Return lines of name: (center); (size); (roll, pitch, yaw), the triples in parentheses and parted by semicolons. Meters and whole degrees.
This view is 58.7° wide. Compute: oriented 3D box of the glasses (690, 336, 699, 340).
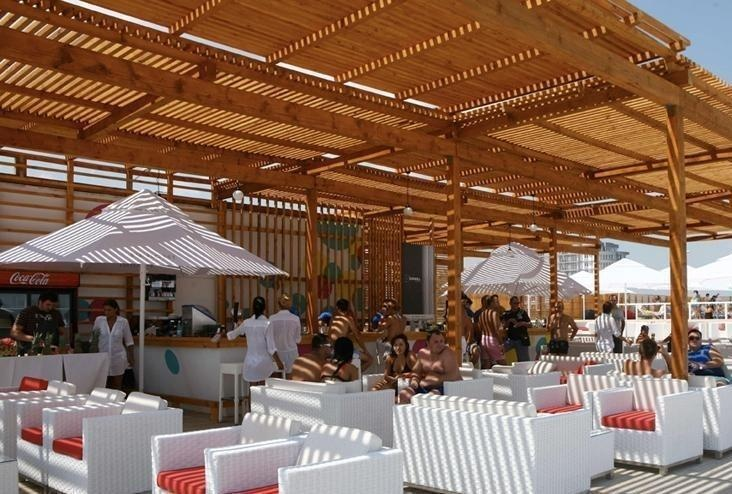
glasses: (4.873, 1.337, 9.646); (0.102, 0.052, 0.084); (-6, -11, 30)

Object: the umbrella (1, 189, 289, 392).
umbrella: (-3.559, 0.256, 10.476); (3.757, 2.657, 3.755); (4, -6, -41)

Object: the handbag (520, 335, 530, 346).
handbag: (3.271, 1.914, 13.428); (0.215, 0.178, 0.048); (7, -4, -32)

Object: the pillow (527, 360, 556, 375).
pillow: (2.706, 1.838, 9.985); (0.259, 0.073, 0.262); (-11, 7, 13)

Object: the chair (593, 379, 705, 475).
chair: (3.483, 2.088, 7.975); (1.177, 1.111, 1.147); (9, -13, -39)

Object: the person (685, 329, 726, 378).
person: (5.032, 1.562, 9.614); (0.497, 0.700, 1.069); (-4, -10, 23)

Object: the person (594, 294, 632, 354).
person: (4.866, 1.562, 13.030); (0.505, 1.061, 1.192); (-4, -10, 20)

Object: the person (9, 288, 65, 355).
person: (-5.239, 1.179, 10.225); (0.773, 1.528, 0.648); (7, -19, -44)

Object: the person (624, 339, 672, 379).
person: (3.978, 1.539, 9.191); (0.566, 0.511, 1.653); (-4, -10, 25)

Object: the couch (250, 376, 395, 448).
couch: (-0.473, 2.198, 7.743); (1.669, 0.912, 0.826); (-2, -3, 38)

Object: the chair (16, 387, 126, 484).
chair: (-3.176, 2.076, 7.405); (1.193, 1.115, 1.145); (-5, -10, 34)

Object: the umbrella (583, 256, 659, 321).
umbrella: (10.438, 1.237, 25.672); (3.101, 1.442, 3.101); (-4, -3, 34)

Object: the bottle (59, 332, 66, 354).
bottle: (-4.493, 1.377, 9.601); (0.111, 0.336, 0.220); (5, -11, -24)
